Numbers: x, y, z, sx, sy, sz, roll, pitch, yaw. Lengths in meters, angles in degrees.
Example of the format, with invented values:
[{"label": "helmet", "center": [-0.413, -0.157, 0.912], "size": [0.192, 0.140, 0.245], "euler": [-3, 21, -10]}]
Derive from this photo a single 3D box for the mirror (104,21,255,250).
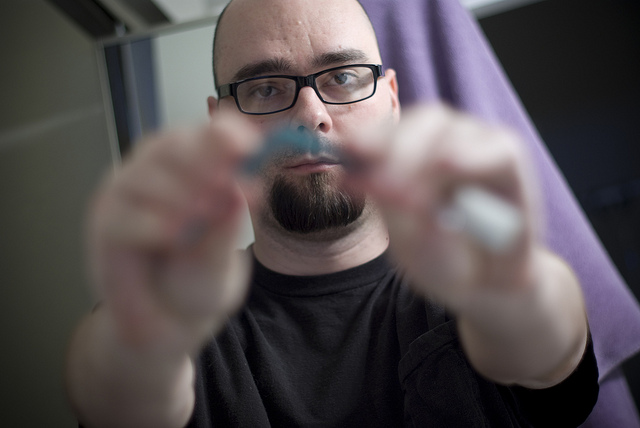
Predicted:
[{"label": "mirror", "center": [-0.248, -0.212, 0.881], "size": [0.229, 0.120, 0.151], "euler": [-28, 61, -1]}]
